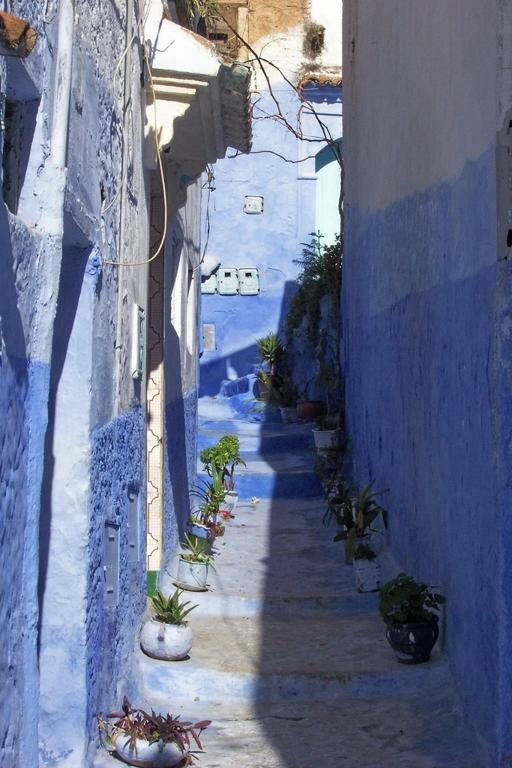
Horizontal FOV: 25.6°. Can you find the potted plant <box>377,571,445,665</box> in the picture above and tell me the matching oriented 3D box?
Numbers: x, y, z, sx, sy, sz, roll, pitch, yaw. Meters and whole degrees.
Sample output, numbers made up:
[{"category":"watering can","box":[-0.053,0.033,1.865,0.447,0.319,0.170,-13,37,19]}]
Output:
[{"category":"potted plant","box":[0.777,1.126,5.623,0.305,0.542,0.360,-2,-5,8]}]

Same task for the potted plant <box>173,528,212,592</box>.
[{"category":"potted plant","box":[-0.393,1.153,7.439,0.277,0.488,0.243,4,0,-15]}]

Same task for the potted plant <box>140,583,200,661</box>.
[{"category":"potted plant","box":[-0.474,1.269,5.909,0.261,0.341,0.309,-1,4,-1]}]
